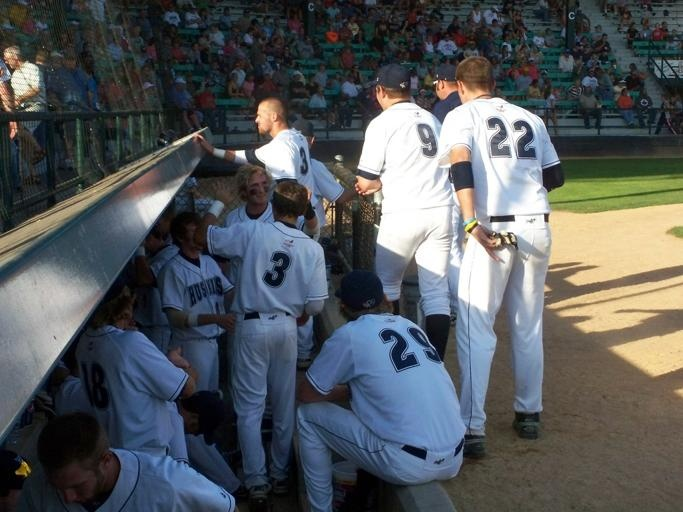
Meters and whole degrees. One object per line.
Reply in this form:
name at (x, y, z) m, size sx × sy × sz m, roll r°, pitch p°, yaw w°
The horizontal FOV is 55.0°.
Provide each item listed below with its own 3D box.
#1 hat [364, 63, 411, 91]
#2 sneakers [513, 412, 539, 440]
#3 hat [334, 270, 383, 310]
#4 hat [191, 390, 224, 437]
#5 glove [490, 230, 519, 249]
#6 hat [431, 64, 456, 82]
hat at (0.394, -1.423, 5.246) m, size 0.253 × 0.152 × 0.195 m, roll 12°, pitch 26°, yaw 23°
sneakers at (1.190, 1.104, 4.253) m, size 0.091 × 0.159 × 0.225 m, roll 0°, pitch 2°, yaw 8°
hat at (0.094, 0.183, 4.080) m, size 0.187 × 0.149 × 0.257 m, roll -14°, pitch 21°, yaw -17°
hat at (-0.869, 1.053, 4.443) m, size 0.175 × 0.353 × 0.229 m, roll -7°, pitch -13°, yaw 27°
glove at (1.023, -0.099, 4.112) m, size 0.128 × 0.106 × 0.042 m, roll -1°, pitch -3°, yaw -28°
hat at (0.959, -1.688, 6.025) m, size 0.162 × 0.169 × 0.292 m, roll -1°, pitch 13°, yaw 7°
